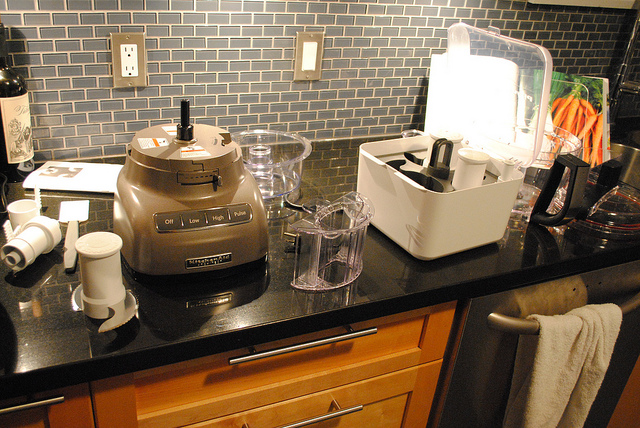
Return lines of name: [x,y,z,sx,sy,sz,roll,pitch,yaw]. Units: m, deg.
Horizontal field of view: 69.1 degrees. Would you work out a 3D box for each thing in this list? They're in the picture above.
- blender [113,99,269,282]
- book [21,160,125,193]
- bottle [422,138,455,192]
blender: [-0.339,-0.071,1.350,0.471,0.457,0.458,-12,35,-27]
book: [-0.821,-0.129,1.563,0.287,0.059,0.188,0,24,-5]
bottle: [0.347,-0.143,1.328,0.090,0.127,0.124,4,25,4]
